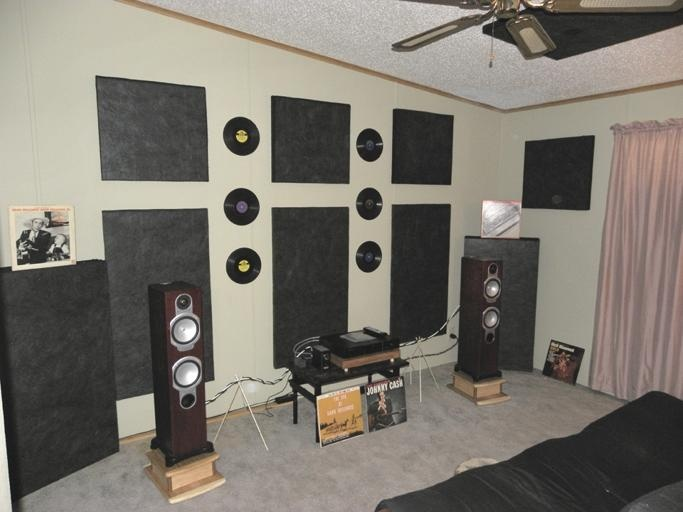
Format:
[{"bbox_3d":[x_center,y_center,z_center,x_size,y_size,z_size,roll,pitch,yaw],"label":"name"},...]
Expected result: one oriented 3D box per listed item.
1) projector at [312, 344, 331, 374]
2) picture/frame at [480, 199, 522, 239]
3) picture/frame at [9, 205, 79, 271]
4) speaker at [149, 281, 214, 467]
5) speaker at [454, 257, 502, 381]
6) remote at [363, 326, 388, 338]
[{"bbox_3d":[-0.149,0.755,3.983,0.094,0.180,0.174,-5,10,-32],"label":"projector"},{"bbox_3d":[1.412,-0.317,4.843,0.330,0.339,0.036,6,4,-9],"label":"picture/frame"},{"bbox_3d":[-1.843,-0.105,3.345,0.362,0.429,0.033,-5,7,-39],"label":"picture/frame"},{"bbox_3d":[-1.039,0.721,3.410,0.370,1.073,0.332,-6,10,-22],"label":"speaker"},{"bbox_3d":[1.120,0.516,4.490,0.360,1.000,0.336,1,10,19],"label":"speaker"},{"bbox_3d":[0.278,0.591,4.248,0.071,0.037,0.145,-15,20,-39],"label":"remote"}]
